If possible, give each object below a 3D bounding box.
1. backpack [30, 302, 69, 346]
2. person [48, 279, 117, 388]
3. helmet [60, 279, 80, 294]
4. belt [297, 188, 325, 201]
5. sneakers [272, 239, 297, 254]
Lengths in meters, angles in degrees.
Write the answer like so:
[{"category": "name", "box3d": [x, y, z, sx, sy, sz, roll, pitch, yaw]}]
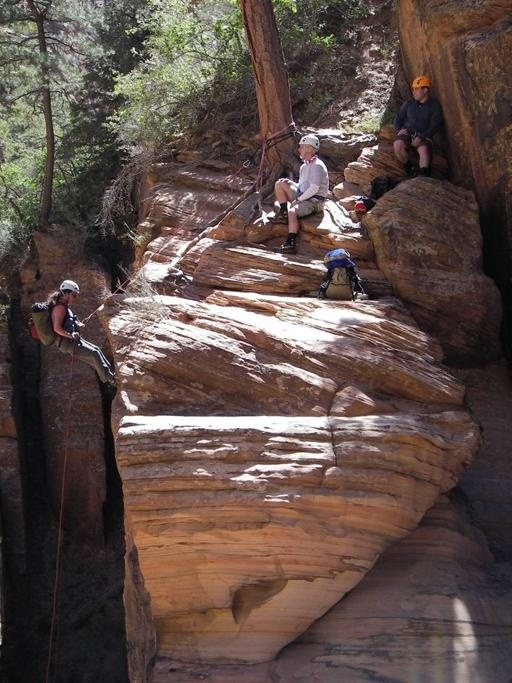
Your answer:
[{"category": "backpack", "box3d": [-2.689, -0.227, 11.713, 0.337, 0.367, 0.317, -17, 10, -10]}, {"category": "person", "box3d": [-2.204, -0.097, 11.866, 1.086, 1.398, 0.619, -3, 24, -18]}, {"category": "helmet", "box3d": [-2.321, -0.693, 11.655, 0.298, 0.199, 0.194, -4, 12, -10]}, {"category": "belt", "box3d": [0.719, -1.896, 12.146, 0.229, 0.115, 0.262, -1, -4, 10]}, {"category": "sneakers", "box3d": [0.319, -1.207, 11.931, 0.286, 0.191, 0.382, -16, 9, -19]}]
